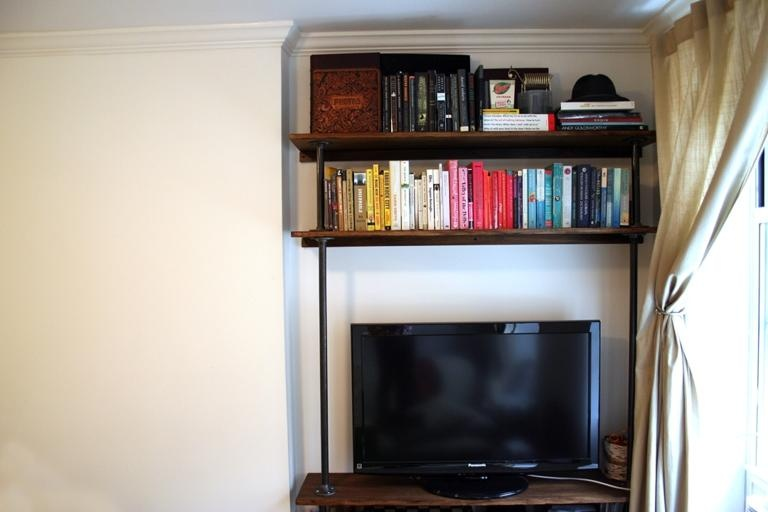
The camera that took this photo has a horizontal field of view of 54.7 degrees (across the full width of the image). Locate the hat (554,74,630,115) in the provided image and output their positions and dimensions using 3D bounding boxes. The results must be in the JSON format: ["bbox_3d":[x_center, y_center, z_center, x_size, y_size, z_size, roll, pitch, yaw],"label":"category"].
[{"bbox_3d":[1.176,-0.880,4.094,0.272,0.126,0.277,0,9,7],"label":"hat"}]

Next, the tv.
[{"bbox_3d":[0.517,0.837,4.105,0.948,0.658,0.285,-1,4,0],"label":"tv"}]
